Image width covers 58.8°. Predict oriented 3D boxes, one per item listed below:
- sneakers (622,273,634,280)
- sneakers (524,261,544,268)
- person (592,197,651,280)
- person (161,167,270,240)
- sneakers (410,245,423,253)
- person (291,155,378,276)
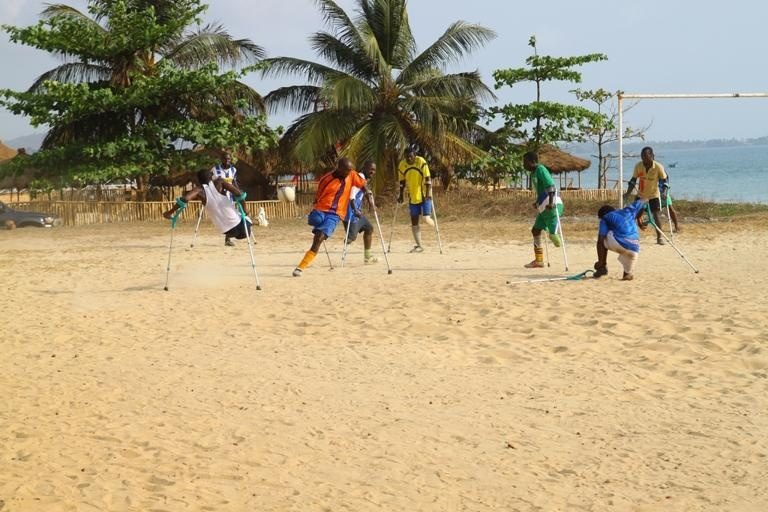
[{"bbox_3d":[4.075,0.361,11.328,0.125,0.114,0.149,-5,1,-32],"label":"sneakers"},{"bbox_3d":[2.799,0.185,12.668,0.362,0.131,0.134,3,6,6],"label":"sneakers"},{"bbox_3d":[3.951,-0.211,11.360,0.700,1.222,0.703,7,12,41],"label":"person"},{"bbox_3d":[-2.981,-0.853,12.001,0.841,1.260,1.610,3,9,25],"label":"person"},{"bbox_3d":[0.696,-0.121,14.988,0.327,0.123,0.122,3,3,39],"label":"sneakers"},{"bbox_3d":[-0.975,-0.678,12.194,1.348,2.060,1.161,-2,9,-5],"label":"person"}]
